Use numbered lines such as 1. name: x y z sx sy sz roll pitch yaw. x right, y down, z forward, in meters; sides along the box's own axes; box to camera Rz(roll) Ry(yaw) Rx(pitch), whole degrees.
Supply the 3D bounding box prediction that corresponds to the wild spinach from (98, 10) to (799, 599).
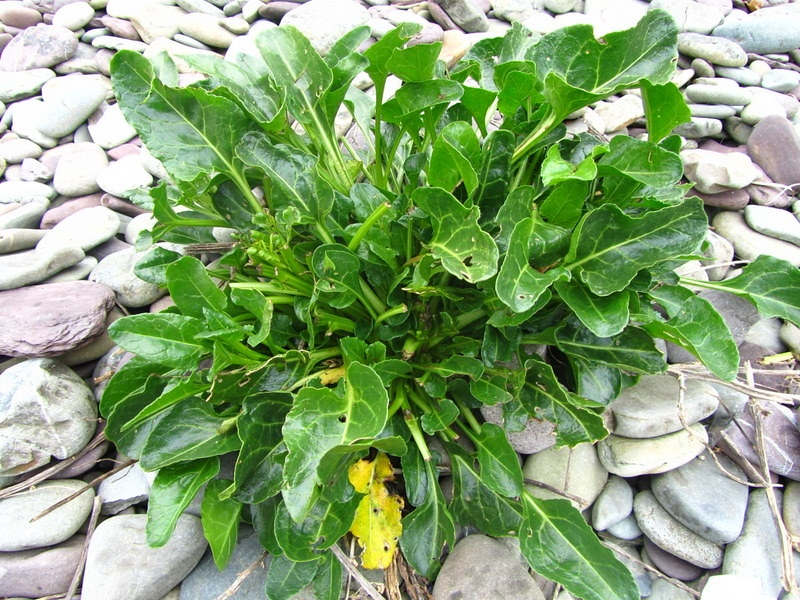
1. wild spinach: 0.099 0.019 1.899 1.580 0.568 1.565 29 79 8
